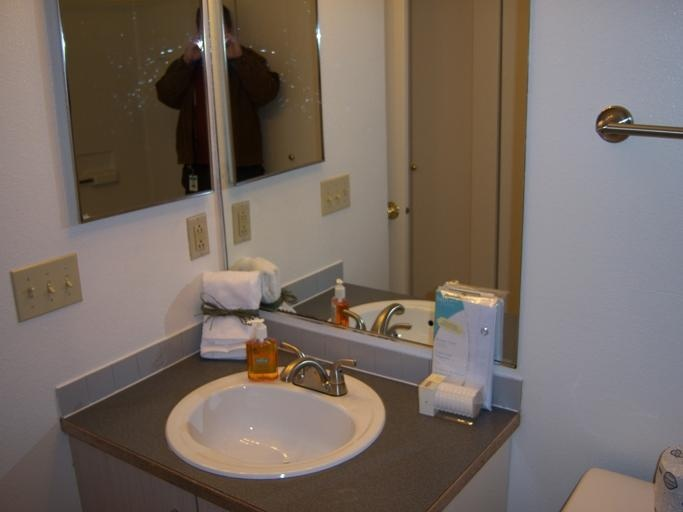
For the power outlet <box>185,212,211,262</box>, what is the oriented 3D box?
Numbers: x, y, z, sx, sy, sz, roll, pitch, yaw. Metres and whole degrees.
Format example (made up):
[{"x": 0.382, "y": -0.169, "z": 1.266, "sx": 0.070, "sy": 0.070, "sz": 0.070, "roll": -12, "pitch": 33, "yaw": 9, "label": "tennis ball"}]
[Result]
[{"x": -0.466, "y": -0.069, "z": 1.792, "sx": 0.030, "sy": 0.178, "sz": 0.093, "roll": 14, "pitch": 27, "yaw": 35, "label": "power outlet"}]

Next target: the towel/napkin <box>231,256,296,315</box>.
[{"x": -0.229, "y": 0.075, "z": 1.877, "sx": 0.203, "sy": 0.237, "sz": 0.137, "roll": 4, "pitch": 16, "yaw": 20, "label": "towel/napkin"}]

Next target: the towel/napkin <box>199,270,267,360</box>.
[{"x": -0.371, "y": 0.194, "z": 1.787, "sx": 0.188, "sy": 0.288, "sz": 0.087, "roll": 1, "pitch": 8, "yaw": 10, "label": "towel/napkin"}]
